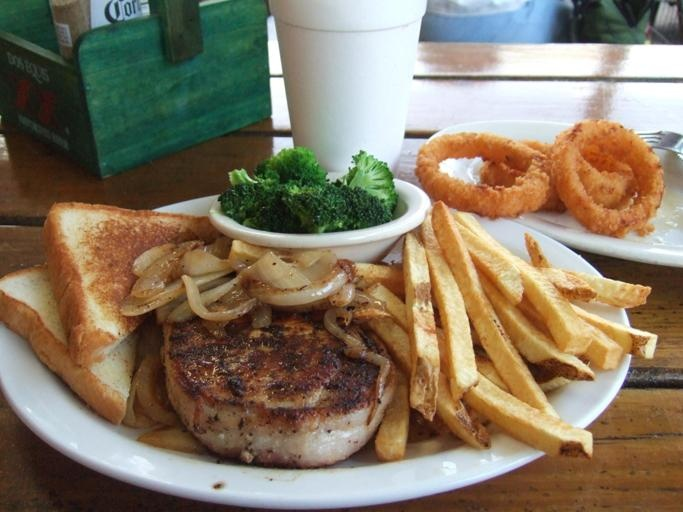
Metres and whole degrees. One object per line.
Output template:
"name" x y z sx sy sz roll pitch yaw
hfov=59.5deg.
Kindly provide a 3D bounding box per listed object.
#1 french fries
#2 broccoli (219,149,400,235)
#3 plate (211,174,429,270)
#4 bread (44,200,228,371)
"french fries" 0.410 0.216 1.635 0.718 0.169 0.684 2 42 -2
"broccoli" -0.024 -0.275 2.110 0.773 0.280 0.460 7 20 34
"plate" -0.055 -0.147 1.979 0.707 0.231 0.371 -8 15 -14
"bread" -0.699 0.013 1.818 0.460 0.410 0.588 12 21 32
